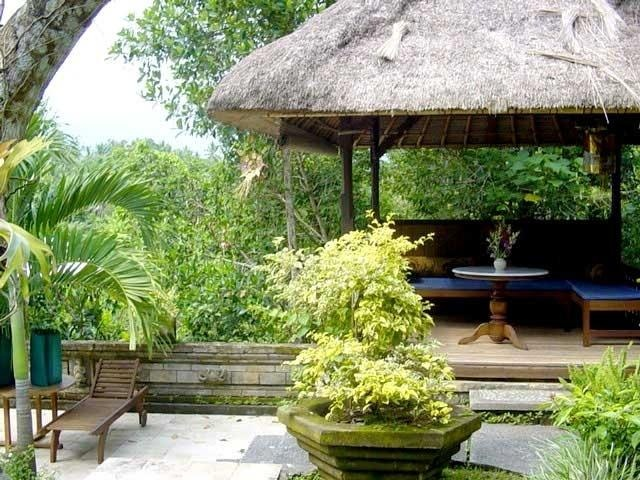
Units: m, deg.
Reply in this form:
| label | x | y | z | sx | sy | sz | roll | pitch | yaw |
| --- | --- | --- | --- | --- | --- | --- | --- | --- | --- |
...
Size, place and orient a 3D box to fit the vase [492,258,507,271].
| label | x | y | z | sx | sy | sz | roll | pitch | yaw |
| --- | --- | --- | --- | --- | --- | --- | --- | --- | --- |
| vase | 2.016 | 0.280 | 7.151 | 0.134 | 0.135 | 0.142 | -3 | -7 | 37 |

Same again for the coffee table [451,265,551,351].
| label | x | y | z | sx | sy | sz | roll | pitch | yaw |
| --- | --- | --- | --- | --- | --- | --- | --- | --- | --- |
| coffee table | 2.024 | 0.729 | 7.025 | 0.888 | 0.707 | 0.919 | 0 | 5 | 3 |

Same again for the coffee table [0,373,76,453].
| label | x | y | z | sx | sy | sz | roll | pitch | yaw |
| --- | --- | --- | --- | --- | --- | --- | --- | --- | --- |
| coffee table | -2.692 | 1.591 | 5.951 | 0.643 | 0.458 | 0.733 | -3 | -4 | 41 |

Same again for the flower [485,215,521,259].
| label | x | y | z | sx | sy | sz | roll | pitch | yaw |
| --- | --- | --- | --- | --- | --- | --- | --- | --- | --- |
| flower | 2.200 | -0.011 | 7.757 | 0.387 | 0.535 | 0.381 | 13 | -22 | -20 |
